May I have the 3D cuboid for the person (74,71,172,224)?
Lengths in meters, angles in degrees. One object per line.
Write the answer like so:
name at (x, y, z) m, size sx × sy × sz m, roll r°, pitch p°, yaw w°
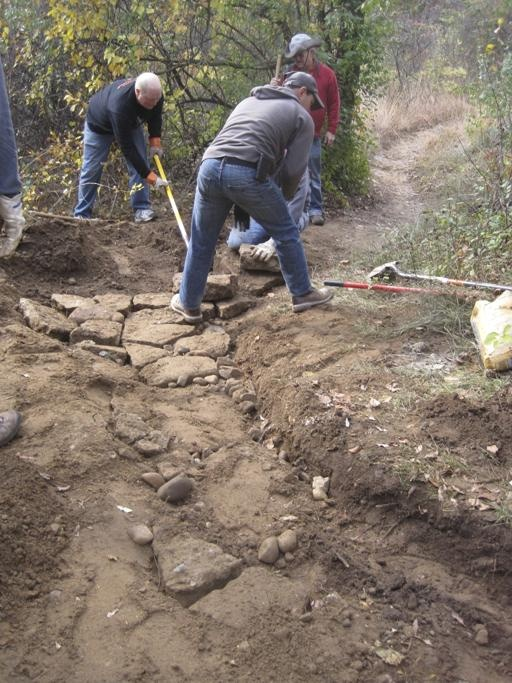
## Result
person at (-1.208, -1.640, 5.810) m, size 0.934 × 1.225 × 1.527 m, roll -14°, pitch 12°, yaw -15°

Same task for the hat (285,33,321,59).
hat at (0.407, -2.701, 5.972) m, size 0.345 × 0.192 × 0.239 m, roll -6°, pitch 12°, yaw 17°

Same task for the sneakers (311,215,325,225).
sneakers at (0.665, -1.300, 7.070) m, size 0.063 × 0.076 × 0.181 m, roll -7°, pitch 1°, yaw -2°

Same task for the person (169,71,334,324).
person at (-0.059, -0.852, 4.303) m, size 1.008 × 1.483 × 0.696 m, roll -12°, pitch 12°, yaw -5°

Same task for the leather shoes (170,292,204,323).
leather shoes at (-0.540, -0.246, 4.862) m, size 0.126 × 0.135 × 0.320 m, roll 10°, pitch 17°, yaw -36°

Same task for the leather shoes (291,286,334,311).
leather shoes at (0.406, -0.322, 4.694) m, size 0.341 × 0.137 × 0.123 m, roll -21°, pitch 31°, yaw -22°

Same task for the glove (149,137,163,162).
glove at (-0.916, -1.757, 6.025) m, size 0.127 × 0.146 × 0.158 m, roll -28°, pitch -25°, yaw -23°

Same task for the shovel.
shovel at (1.219, -0.424, 4.468) m, size 0.806 × 0.085 × 0.333 m, roll 10°, pitch 32°, yaw 40°

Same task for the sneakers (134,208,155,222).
sneakers at (-1.072, -1.199, 6.309) m, size 0.224 × 0.102 × 0.091 m, roll 4°, pitch 54°, yaw 51°
